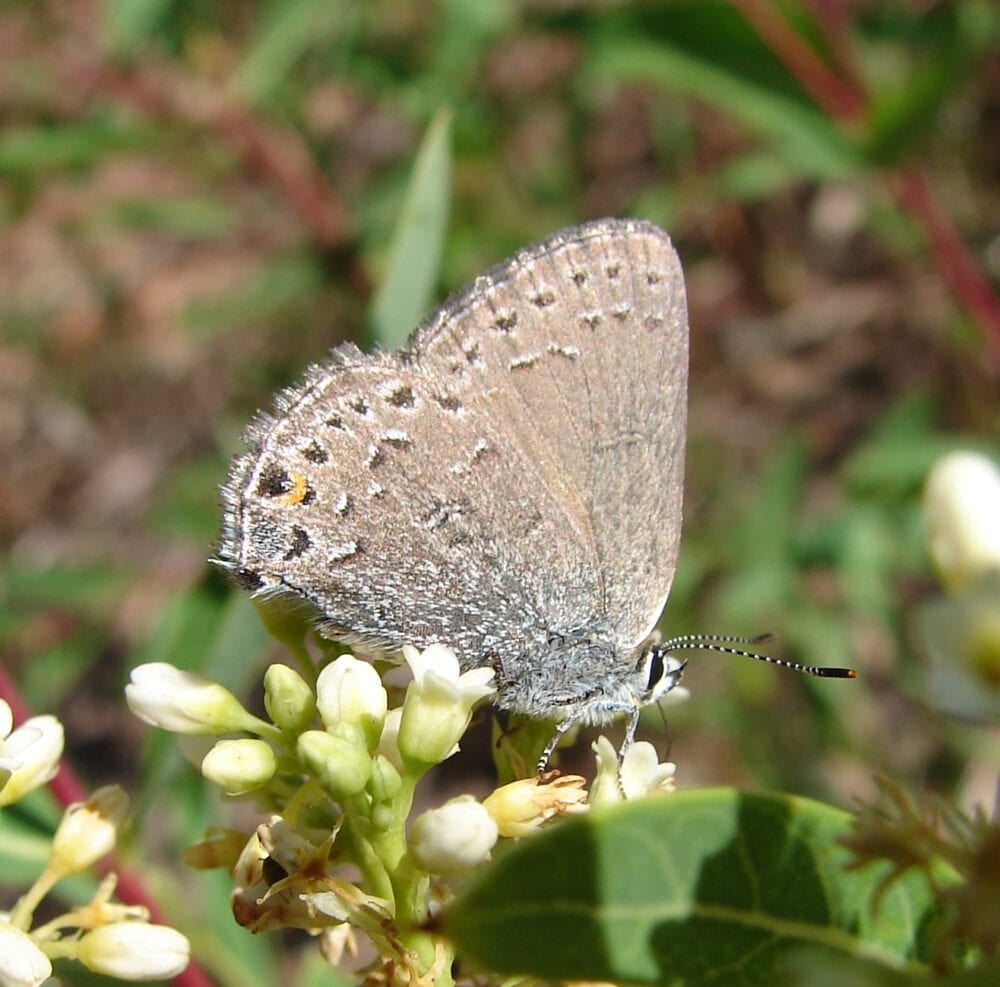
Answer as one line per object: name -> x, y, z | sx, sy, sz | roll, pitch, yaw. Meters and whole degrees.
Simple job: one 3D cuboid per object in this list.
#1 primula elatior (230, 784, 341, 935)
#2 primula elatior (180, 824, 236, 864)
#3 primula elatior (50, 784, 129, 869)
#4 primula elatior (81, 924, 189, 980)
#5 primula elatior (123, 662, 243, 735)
primula elatior -> -0.405, 0.664, 2.484 | 0.209, 0.218, 0.287 | -1, 95, -15
primula elatior -> -0.556, 0.697, 2.675 | 0.117, 0.047, 0.077 | -3, 83, 1
primula elatior -> -0.798, 0.659, 2.692 | 0.133, 0.043, 0.180 | 34, 57, 7
primula elatior -> -0.673, 0.851, 2.531 | 0.190, 0.090, 0.091 | 6, 83, 1
primula elatior -> -0.603, 0.398, 2.612 | 0.257, 0.079, 0.101 | 23, 69, -19
